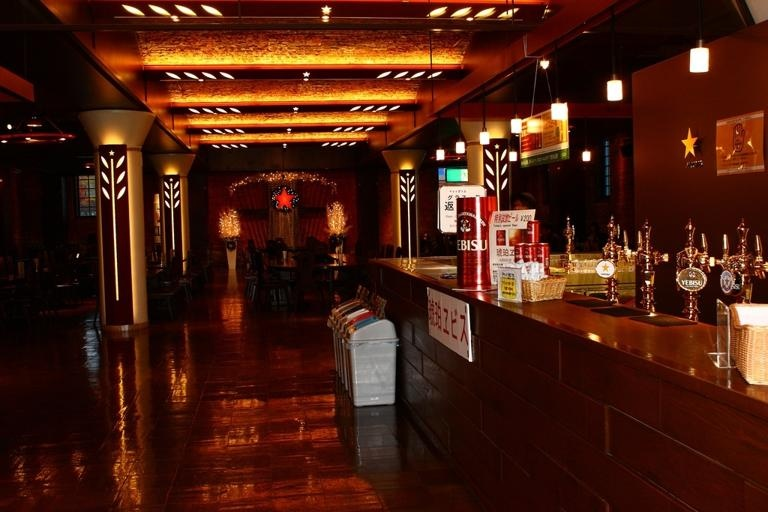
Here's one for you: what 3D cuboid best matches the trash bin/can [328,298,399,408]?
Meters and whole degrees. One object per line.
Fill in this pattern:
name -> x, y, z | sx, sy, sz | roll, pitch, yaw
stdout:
trash bin/can -> -0.190, 0.981, 6.337 | 0.623, 1.097, 0.932 | -2, 5, -8

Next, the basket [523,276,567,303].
basket -> 1.052, 0.209, 3.826 | 0.332, 0.153, 0.110 | -5, 6, -34

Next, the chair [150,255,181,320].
chair -> -4.525, 0.707, 12.248 | 0.413, 0.723, 1.199 | 0, 6, -4
